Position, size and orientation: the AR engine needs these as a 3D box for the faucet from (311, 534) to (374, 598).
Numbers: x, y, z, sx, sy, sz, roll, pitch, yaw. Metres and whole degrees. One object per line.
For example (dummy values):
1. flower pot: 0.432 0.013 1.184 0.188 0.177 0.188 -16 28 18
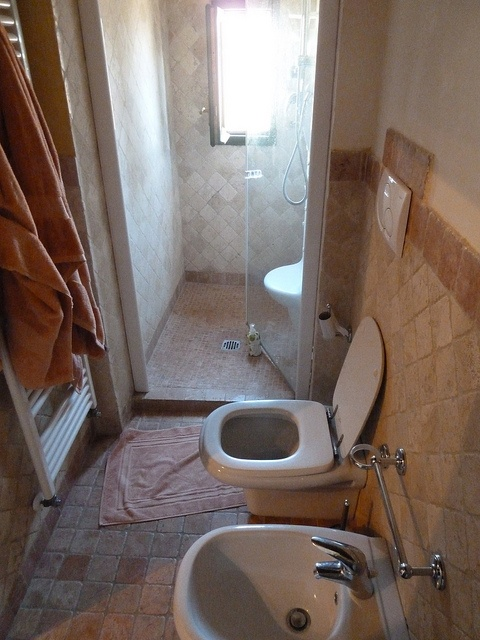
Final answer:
1. faucet: 0.245 0.584 1.010 0.110 0.213 0.068 2 49 14

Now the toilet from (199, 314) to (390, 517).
1. toilet: 0.159 0.345 1.515 0.566 0.984 0.429 -1 33 1

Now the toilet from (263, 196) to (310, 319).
1. toilet: 0.216 -0.218 2.094 0.221 0.427 0.238 -7 46 17
